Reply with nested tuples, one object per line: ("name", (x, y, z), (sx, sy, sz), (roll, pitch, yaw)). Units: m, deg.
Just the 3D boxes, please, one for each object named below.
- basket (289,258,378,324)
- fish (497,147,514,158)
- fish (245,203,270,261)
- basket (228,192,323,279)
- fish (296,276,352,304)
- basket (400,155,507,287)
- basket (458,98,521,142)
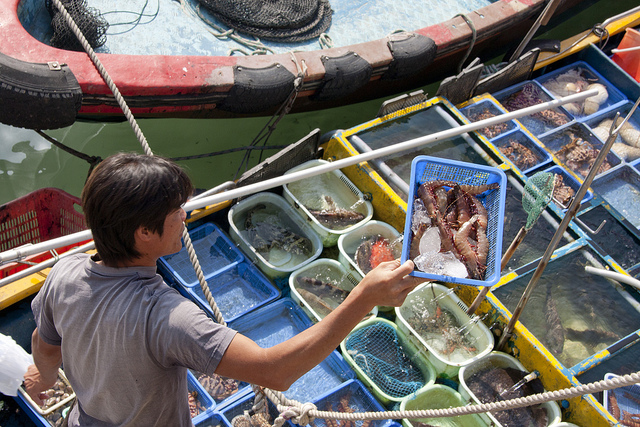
("basket", (0.140, 0.997, 6.635), (0.695, 0.868, 0.283), (-37, -10, -23))
("fish", (2.515, -0.854, 7.359), (0.148, 0.146, 0.047), (-37, -26, -22))
("fish", (-0.780, 0.239, 6.756), (0.218, 0.738, 0.238), (4, -3, 7))
("basket", (-0.607, 0.231, 6.726), (0.950, 1.161, 0.574), (-1, 0, -40))
("fish", (0.036, 0.933, 6.476), (0.603, 0.311, 0.447), (-12, -34, 16))
("basket", (1.191, 0.041, 4.734), (0.891, 1.335, 0.740), (1, 0, 9))
("basket", (2.332, -1.305, 7.509), (0.641, 0.471, 0.358), (-26, 7, -16))
